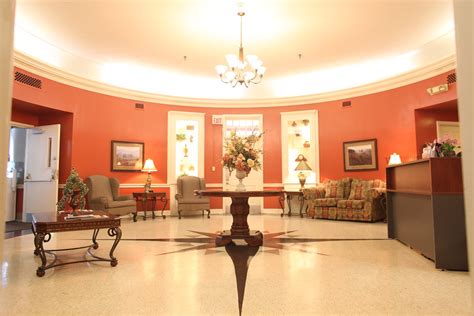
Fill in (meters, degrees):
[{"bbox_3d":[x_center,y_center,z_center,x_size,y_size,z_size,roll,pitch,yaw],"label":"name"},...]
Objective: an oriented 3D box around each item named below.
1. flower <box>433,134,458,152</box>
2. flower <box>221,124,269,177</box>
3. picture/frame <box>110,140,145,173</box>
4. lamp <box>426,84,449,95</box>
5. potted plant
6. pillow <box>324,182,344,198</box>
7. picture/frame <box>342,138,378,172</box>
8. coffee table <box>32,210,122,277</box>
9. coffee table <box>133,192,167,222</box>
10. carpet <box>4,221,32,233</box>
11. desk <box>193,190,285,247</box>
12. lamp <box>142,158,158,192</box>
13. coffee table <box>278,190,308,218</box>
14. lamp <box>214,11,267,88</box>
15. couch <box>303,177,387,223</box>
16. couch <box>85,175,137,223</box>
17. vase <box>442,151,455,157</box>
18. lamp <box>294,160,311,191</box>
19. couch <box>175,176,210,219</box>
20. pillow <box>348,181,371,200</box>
[{"bbox_3d":[2.931,-0.194,4.456,0.268,0.247,0.352,0,1,33],"label":"flower"},{"bbox_3d":[0.042,0.030,5.935,0.608,0.853,0.656,-6,9,-20],"label":"flower"},{"bbox_3d":[-3.091,-0.035,8.798,0.971,0.916,0.065,2,-6,-34],"label":"picture/frame"},{"bbox_3d":[4.715,-1.623,7.469,0.110,0.224,0.459,-1,1,-28],"label":"lamp"},{"bbox_3d":[-2.641,0.491,5.039,0.412,0.665,0.454,-1,1,-34],"label":"potted plant"},{"bbox_3d":[2.666,0.881,8.617,0.395,0.356,0.137,-8,-30,29],"label":"pillow"},{"bbox_3d":[3.442,-0.083,8.753,0.969,0.894,0.069,-2,-7,36],"label":"picture/frame"},{"bbox_3d":[-2.441,1.015,4.644,1.178,0.577,0.883,1,5,-30],"label":"coffee table"},{"bbox_3d":[-2.394,1.321,8.837,0.893,0.631,0.867,1,-8,-15],"label":"coffee table"},{"bbox_3d":[-5.047,1.550,7.307,0.486,0.108,1.762,-1,1,-35],"label":"carpet"},{"bbox_3d":[0.064,1.027,5.487,1.272,0.971,0.770,0,1,27],"label":"desk"},{"bbox_3d":[-2.469,0.457,8.872,0.400,0.901,0.621,-1,1,-16],"label":"lamp"},{"bbox_3d":[1.521,1.295,9.105,0.760,0.620,0.575,2,-13,-25],"label":"coffee table"},{"bbox_3d":[0.088,-2.351,6.683,1.166,1.448,1.042,1,-3,-15],"label":"lamp"},{"bbox_3d":[2.878,1.050,8.374,2.026,1.038,0.921,-4,-5,44],"label":"couch"},{"bbox_3d":[-3.147,0.954,8.268,1.321,1.520,1.269,-12,-14,38],"label":"couch"},{"bbox_3d":[2.870,-0.054,4.301,0.116,0.076,0.114,4,-4,-36],"label":"vase"},{"bbox_3d":[1.938,0.514,9.343,0.612,0.852,0.581,-4,-12,17],"label":"lamp"},{"bbox_3d":[-1.373,1.107,9.191,1.197,1.385,1.132,2,-14,-11],"label":"couch"},{"bbox_3d":[3.135,0.821,8.215,0.180,0.482,0.497,18,-7,-42],"label":"pillow"}]
